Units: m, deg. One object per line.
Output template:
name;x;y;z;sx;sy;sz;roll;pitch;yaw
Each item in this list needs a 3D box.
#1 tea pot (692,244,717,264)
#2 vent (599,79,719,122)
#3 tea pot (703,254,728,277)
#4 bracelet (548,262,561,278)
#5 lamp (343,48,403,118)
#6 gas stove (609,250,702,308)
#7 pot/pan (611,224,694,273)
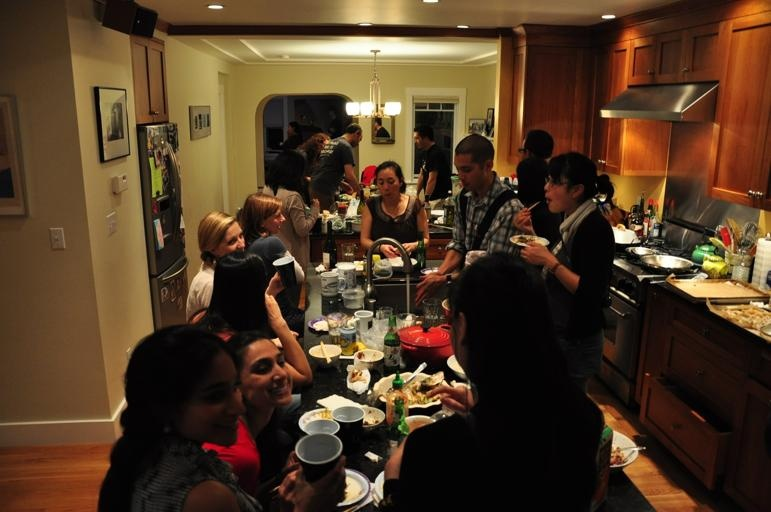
tea pot;2.731;-0.026;4.521;0.156;0.159;0.162;-1;8;0
vent;2.349;-1.339;4.572;0.404;0.320;0.948;-4;16;-13
tea pot;2.635;0.089;4.200;0.176;0.139;0.241;10;19;33
bracelet;1.054;0.090;3.277;0.071;0.027;0.049;-47;10;-28
lamp;-0.164;-2.959;9.015;0.849;1.126;1.061;4;13;18
gas stove;2.173;0.184;4.373;0.391;0.201;0.623;3;22;7
pot/pan;2.316;-0.022;4.663;0.486;0.137;0.759;-4;20;-9
